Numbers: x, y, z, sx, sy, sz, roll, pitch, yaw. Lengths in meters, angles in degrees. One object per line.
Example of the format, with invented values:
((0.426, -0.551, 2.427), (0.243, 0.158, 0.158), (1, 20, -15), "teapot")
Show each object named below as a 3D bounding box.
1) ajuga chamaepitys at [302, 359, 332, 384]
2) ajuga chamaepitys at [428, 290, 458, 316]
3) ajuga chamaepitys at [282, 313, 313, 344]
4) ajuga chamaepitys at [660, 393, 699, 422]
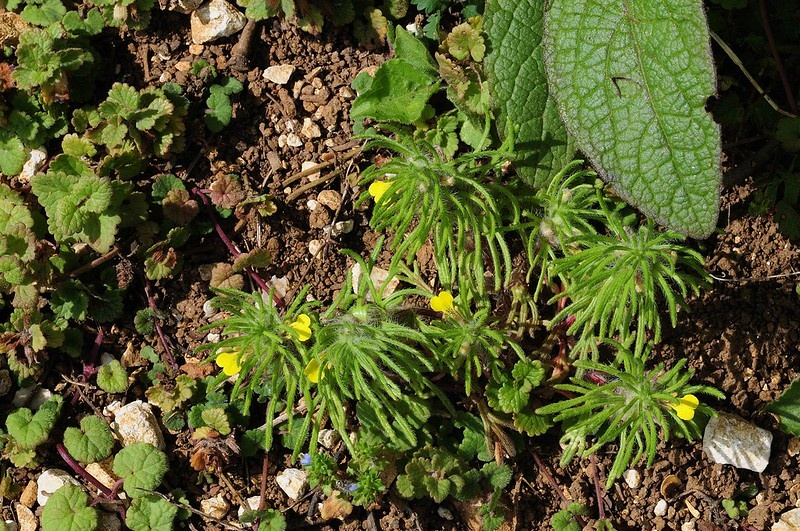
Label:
((-0.339, 0.423, 2.874), (0.106, 0.080, 0.071), (0, 51, 20), "ajuga chamaepitys")
((0.180, 0.148, 3.021), (0.098, 0.126, 0.083), (-22, 46, 0), "ajuga chamaepitys")
((-0.395, 0.279, 2.915), (0.093, 0.173, 0.079), (-1, 49, 19), "ajuga chamaepitys")
((1.160, 0.584, 2.937), (0.130, 0.103, 0.032), (5, 10, 17), "ajuga chamaepitys")
